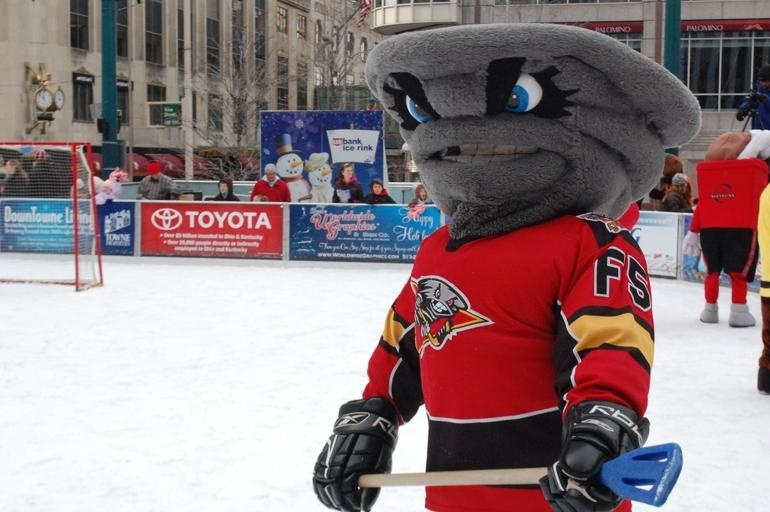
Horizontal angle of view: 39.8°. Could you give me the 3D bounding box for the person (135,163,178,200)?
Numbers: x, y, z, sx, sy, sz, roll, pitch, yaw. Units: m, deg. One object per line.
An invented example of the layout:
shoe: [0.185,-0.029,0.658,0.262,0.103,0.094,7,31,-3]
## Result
person: [-4.471,-1.400,20.940,0.902,0.801,0.469,2,0,3]

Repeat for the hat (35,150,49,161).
hat: [-6.385,-1.855,19.724,0.207,0.195,0.176,2,0,-38]

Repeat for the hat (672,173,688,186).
hat: [4.975,-1.277,17.867,0.249,0.193,0.185,15,-11,-24]

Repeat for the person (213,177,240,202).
person: [-3.109,-1.272,20.625,0.439,0.407,0.948,-1,5,-9]

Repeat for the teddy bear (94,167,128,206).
teddy bear: [-5.403,-1.324,20.530,0.708,0.407,0.567,-11,-22,34]
